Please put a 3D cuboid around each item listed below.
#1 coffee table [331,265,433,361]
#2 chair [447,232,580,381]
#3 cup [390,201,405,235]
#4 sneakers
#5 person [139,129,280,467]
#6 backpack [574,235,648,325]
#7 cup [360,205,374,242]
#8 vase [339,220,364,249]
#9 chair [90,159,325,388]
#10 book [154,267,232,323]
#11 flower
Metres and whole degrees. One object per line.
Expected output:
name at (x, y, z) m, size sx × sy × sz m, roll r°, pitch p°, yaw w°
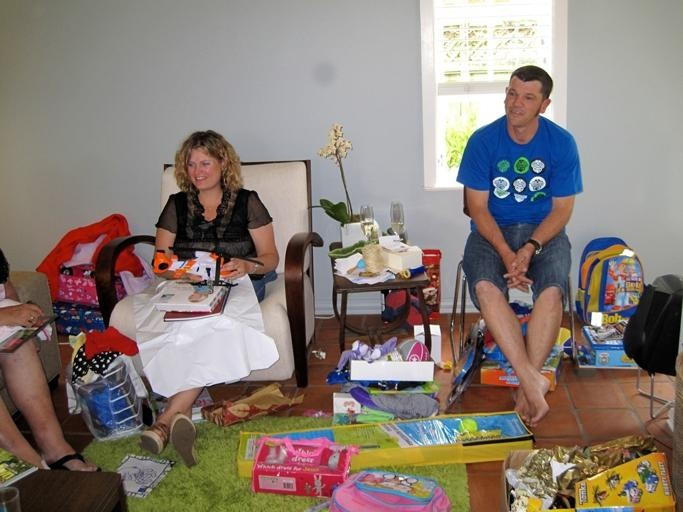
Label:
coffee table at (0.205, 0.293, 2.771) m, size 0.461 × 0.424 × 0.560 m, roll -6°, pitch -21°, yaw 12°
chair at (0.855, 0.157, 2.514) m, size 0.498 × 0.536 × 0.510 m, roll 5°, pitch 18°, yaw 25°
cup at (0.307, -0.202, 2.785) m, size 0.067 × 0.189 × 0.113 m, roll -2°, pitch 16°, yaw 2°
sneakers at (-0.685, 0.746, 2.046) m, size 0.152 × 0.265 × 0.094 m, roll -25°, pitch 5°, yaw 10°
person at (-0.595, 0.109, 2.421) m, size 0.660 × 0.877 × 1.465 m, roll 3°, pitch 43°, yaw 0°
backpack at (1.591, 0.207, 3.020) m, size 0.341 × 0.524 × 0.664 m, roll 4°, pitch 18°, yaw 23°
cup at (0.144, -0.165, 2.686) m, size 0.089 × 0.197 × 0.215 m, roll -2°, pitch 17°, yaw 2°
vase at (0.056, -0.121, 2.869) m, size 0.166 × 0.180 × 0.122 m, roll 0°, pitch 6°, yaw 4°
chair at (-0.589, -0.033, 2.934) m, size 1.063 × 1.200 × 1.233 m, roll 0°, pitch 16°, yaw 4°
book at (-0.684, 0.193, 2.324) m, size 0.331 × 0.139 × 0.279 m, roll -4°, pitch 17°, yaw -2°
flower at (-0.046, -0.520, 3.130) m, size 0.199 × 0.650 × 0.142 m, roll 1°, pitch 40°, yaw -2°
